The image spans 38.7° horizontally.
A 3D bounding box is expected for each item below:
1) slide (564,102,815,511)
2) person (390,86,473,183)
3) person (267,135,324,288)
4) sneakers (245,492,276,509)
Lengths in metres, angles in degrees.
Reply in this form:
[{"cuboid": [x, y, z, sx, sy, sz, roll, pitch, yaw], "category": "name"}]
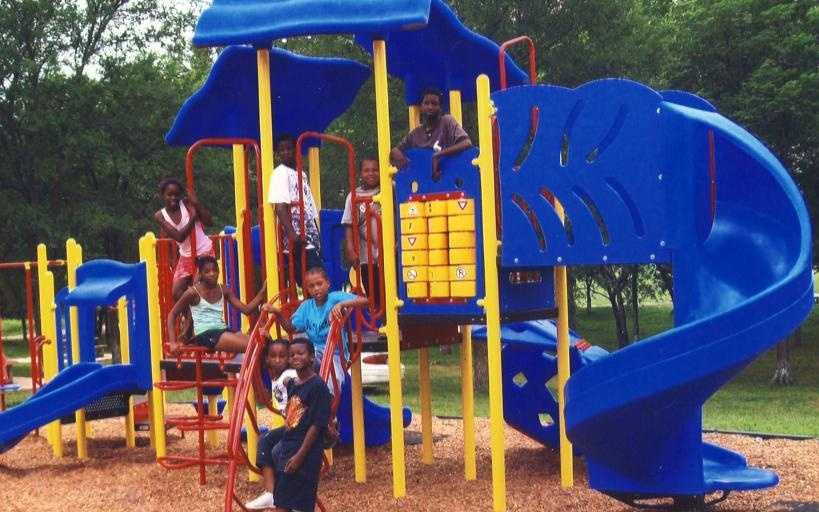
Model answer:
[{"cuboid": [5.206, 1.326, 21.758, 4.888, 8.966, 5.131, -2, -5, 10], "category": "slide"}, {"cuboid": [0.338, -1.920, 19.041, 1.336, 1.595, 0.842, -2, 0, 15], "category": "person"}, {"cuboid": [-1.909, -0.794, 19.604, 0.796, 2.551, 1.057, -2, -2, 3], "category": "person"}, {"cuboid": [-2.300, 3.807, 18.111, 0.533, 0.272, 0.210, -4, -3, 32], "category": "sneakers"}]
